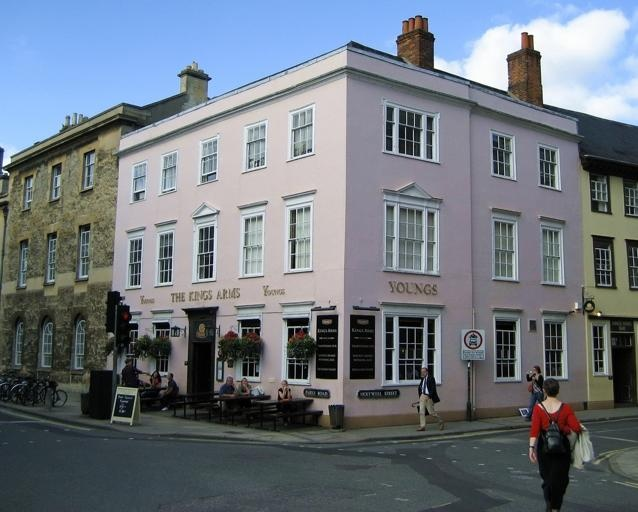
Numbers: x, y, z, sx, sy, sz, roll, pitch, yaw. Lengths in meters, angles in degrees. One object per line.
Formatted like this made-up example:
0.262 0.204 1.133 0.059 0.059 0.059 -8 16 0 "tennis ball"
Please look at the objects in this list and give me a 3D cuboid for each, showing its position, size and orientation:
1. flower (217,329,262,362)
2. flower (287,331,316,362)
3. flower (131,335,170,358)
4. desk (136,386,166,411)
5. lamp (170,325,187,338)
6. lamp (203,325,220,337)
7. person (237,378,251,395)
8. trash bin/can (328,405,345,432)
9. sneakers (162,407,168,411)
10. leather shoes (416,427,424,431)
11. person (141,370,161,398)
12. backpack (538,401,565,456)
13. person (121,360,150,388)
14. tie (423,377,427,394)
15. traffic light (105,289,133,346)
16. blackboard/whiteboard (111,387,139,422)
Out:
-2.846 3.283 23.242 1.106 0.930 1.206 2 -5 -14 "flower"
-0.575 3.011 21.463 0.782 0.972 0.891 -3 -16 11 "flower"
-7.052 3.843 27.375 1.602 0.855 0.725 -7 -15 26 "flower"
-6.502 5.517 24.790 1.020 0.902 1.666 1 -9 -20 "desk"
-5.882 3.168 26.841 0.369 0.533 0.648 -8 -16 35 "lamp"
-4.258 3.009 25.608 0.408 0.480 0.703 -7 -14 38 "lamp"
-2.613 4.583 22.501 0.439 0.629 0.904 2 -14 -8 "person"
0.583 5.091 20.216 0.687 1.001 0.565 -2 -20 7 "trash bin/can"
-6.081 6.029 25.261 0.106 0.138 0.289 9 -13 -37 "sneakers"
3.176 5.435 20.144 0.249 0.115 0.108 3 -9 8 "leather shoes"
-6.824 5.352 26.408 0.624 0.915 0.985 2 -19 -5 "person"
3.522 2.588 9.678 0.319 0.730 0.354 -5 -14 21 "backpack"
-6.839 4.274 23.238 0.605 1.006 1.412 4 -15 -17 "person"
3.351 4.112 20.218 0.152 0.504 0.081 -1 -12 5 "tie"
-6.383 2.014 20.411 0.776 1.901 1.082 4 -14 -18 "traffic light"
-6.055 4.679 20.097 0.759 0.959 0.373 -12 -24 33 "blackboard/whiteboard"
